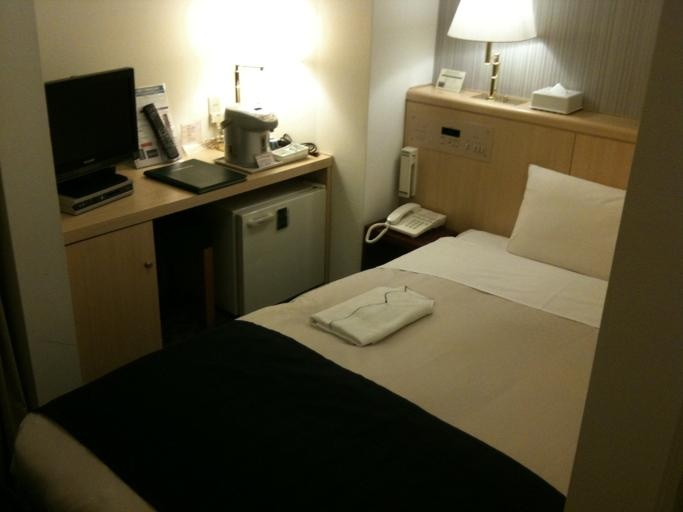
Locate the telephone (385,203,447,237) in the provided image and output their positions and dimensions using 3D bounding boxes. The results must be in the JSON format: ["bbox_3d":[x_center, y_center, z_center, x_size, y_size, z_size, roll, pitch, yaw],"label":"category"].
[{"bbox_3d":[0.457,-0.227,3.268,0.366,0.110,0.384,-12,24,-15],"label":"telephone"}]

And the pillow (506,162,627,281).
[{"bbox_3d":[1.078,-0.156,2.473,0.490,0.431,0.271,21,29,36],"label":"pillow"}]

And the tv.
[{"bbox_3d":[-1.171,-0.635,2.471,0.069,0.450,0.482,12,27,26],"label":"tv"}]

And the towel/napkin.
[{"bbox_3d":[0.147,0.239,2.162,0.507,0.088,0.320,-15,26,-41],"label":"towel/napkin"}]

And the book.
[{"bbox_3d":[-0.801,-0.428,2.808,0.454,0.040,0.333,21,30,36],"label":"book"}]

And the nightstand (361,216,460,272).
[{"bbox_3d":[0.411,-0.085,3.282,0.325,0.482,0.483,-19,32,-37],"label":"nightstand"}]

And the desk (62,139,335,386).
[{"bbox_3d":[-0.849,-0.091,3.077,0.588,0.840,1.667,24,32,31],"label":"desk"}]

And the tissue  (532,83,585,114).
[{"bbox_3d":[1.201,-0.881,2.894,0.238,0.136,0.221,-23,34,-40],"label":"tissue "}]
